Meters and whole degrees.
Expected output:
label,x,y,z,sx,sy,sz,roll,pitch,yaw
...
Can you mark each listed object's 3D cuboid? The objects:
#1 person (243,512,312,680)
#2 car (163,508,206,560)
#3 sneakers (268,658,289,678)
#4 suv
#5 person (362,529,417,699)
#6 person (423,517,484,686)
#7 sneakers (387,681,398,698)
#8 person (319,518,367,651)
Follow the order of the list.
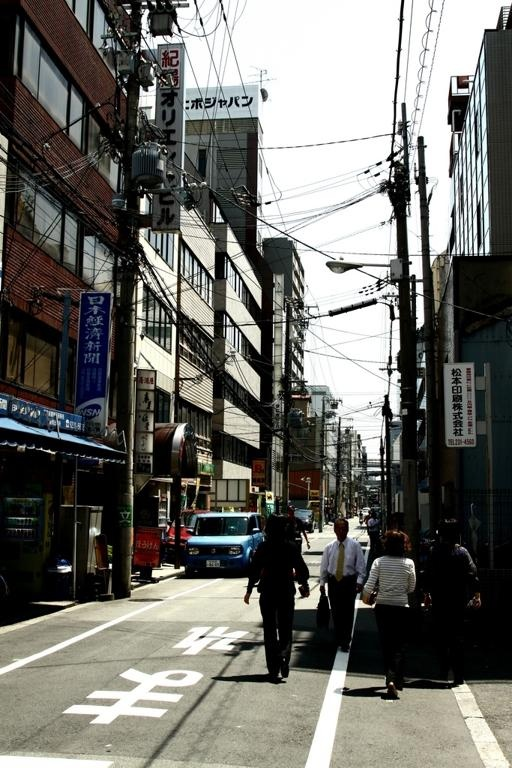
label,x,y,z,sx,sy,sz,roll,pitch,yaw
person,0.178,2.057,8.405,0.544,1.574,0.847,-3,-11,15
car,-2.318,4.779,27.234,0.976,1.152,1.957,-1,-11,9
sneakers,0.208,2.714,8.207,0.146,0.200,0.389,-5,-13,22
suv,-0.798,4.156,23.180,1.750,1.847,3.340,-1,-11,10
person,1.233,2.081,7.969,0.492,1.479,0.937,-2,-11,9
person,1.959,2.149,8.642,0.541,1.576,0.783,-7,-12,32
sneakers,1.166,2.642,7.435,0.051,0.167,0.091,-1,22,33
person,1.033,2.408,10.310,0.510,1.524,0.485,-2,-10,6
